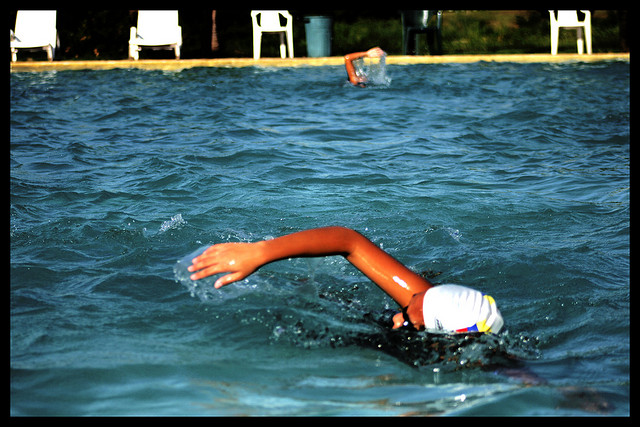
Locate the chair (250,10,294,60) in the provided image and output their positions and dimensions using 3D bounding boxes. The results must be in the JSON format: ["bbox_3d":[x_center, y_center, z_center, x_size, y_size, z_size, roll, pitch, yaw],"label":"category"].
[{"bbox_3d":[-1.070,-4.049,15.675,0.946,0.941,0.697,-5,32,-6],"label":"chair"}]

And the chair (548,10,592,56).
[{"bbox_3d":[5.480,-3.943,15.364,0.852,0.952,1.614,0,5,19],"label":"chair"}]

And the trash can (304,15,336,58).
[{"bbox_3d":[-0.003,-4.105,16.396,0.673,1.012,0.515,-2,6,0],"label":"trash can"}]

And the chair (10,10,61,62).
[{"bbox_3d":[-6.066,-3.844,14.950,0.892,0.903,0.530,-4,6,-22],"label":"chair"}]
